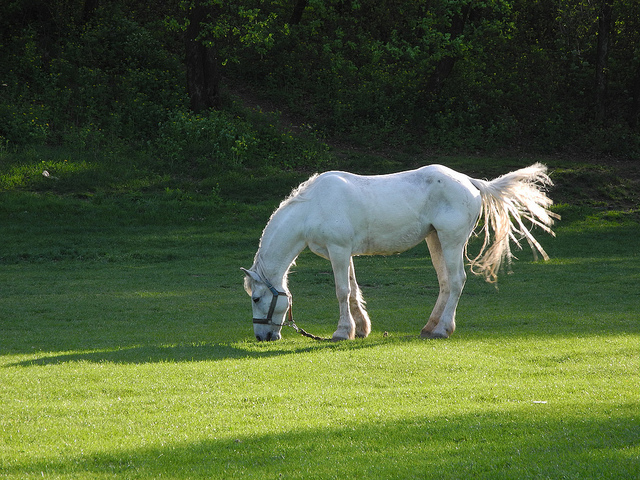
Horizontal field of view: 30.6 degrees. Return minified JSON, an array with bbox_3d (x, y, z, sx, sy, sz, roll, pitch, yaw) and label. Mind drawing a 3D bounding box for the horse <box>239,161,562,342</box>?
[{"bbox_3d":[2.389,0.404,34.245,9.043,4.770,2.003,-3,-3,3],"label":"horse"}]
